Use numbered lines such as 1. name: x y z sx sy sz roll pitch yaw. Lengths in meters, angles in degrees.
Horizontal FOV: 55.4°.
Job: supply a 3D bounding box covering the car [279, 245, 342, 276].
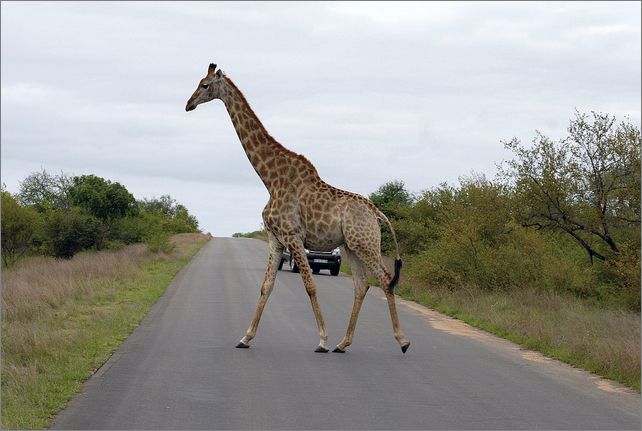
1. car: -0.413 2.237 30.102 1.533 1.594 3.379 3 -10 -17
